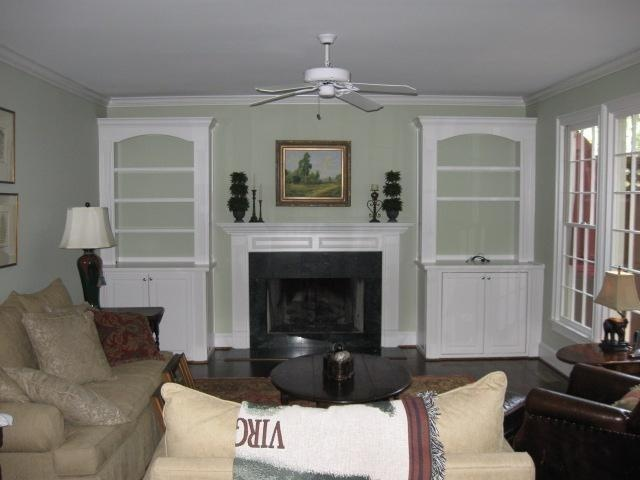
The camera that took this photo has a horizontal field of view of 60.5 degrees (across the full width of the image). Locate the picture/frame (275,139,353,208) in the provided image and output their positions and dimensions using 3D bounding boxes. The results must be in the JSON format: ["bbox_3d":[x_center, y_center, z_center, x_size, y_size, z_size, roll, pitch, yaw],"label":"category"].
[{"bbox_3d":[-0.098,-0.817,6.438,0.793,0.656,0.064,0,1,-1],"label":"picture/frame"}]

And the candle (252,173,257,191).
[{"bbox_3d":[-0.766,-0.688,6.443,0.054,0.187,0.026,1,0,-9],"label":"candle"}]

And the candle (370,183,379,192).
[{"bbox_3d":[0.651,-0.613,6.419,0.090,0.077,0.114,1,0,5],"label":"candle"}]

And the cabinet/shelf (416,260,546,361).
[{"bbox_3d":[1.860,0.801,6.337,1.277,1.042,0.520,0,4,8],"label":"cabinet/shelf"}]

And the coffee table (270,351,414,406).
[{"bbox_3d":[0.180,1.227,4.522,1.174,0.302,1.273,1,4,6],"label":"coffee table"}]

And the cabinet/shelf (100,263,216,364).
[{"bbox_3d":[-1.925,0.887,6.150,1.161,1.068,0.468,3,-23,-24],"label":"cabinet/shelf"}]

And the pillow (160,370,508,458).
[{"bbox_3d":[0.079,0.878,2.775,1.765,0.434,0.180,1,0,-1],"label":"pillow"}]

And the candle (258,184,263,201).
[{"bbox_3d":[-0.699,-0.565,6.459,0.054,0.184,0.029,1,0,-18],"label":"candle"}]

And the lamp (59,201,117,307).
[{"bbox_3d":[-2.166,0.141,5.100,0.460,0.923,0.408,1,0,-23],"label":"lamp"}]
